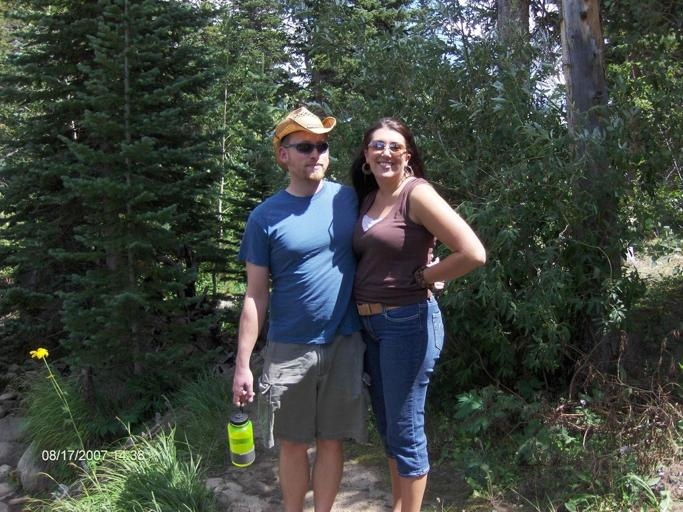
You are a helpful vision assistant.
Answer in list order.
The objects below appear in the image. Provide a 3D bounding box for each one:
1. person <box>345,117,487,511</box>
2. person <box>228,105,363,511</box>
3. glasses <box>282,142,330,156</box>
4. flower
[{"bbox_3d":[0.506,0.425,4.258,0.990,2.965,0.439,-1,-1,19],"label":"person"},{"bbox_3d":[-0.318,0.407,4.419,0.993,3.164,0.334,0,-1,-10],"label":"person"},{"bbox_3d":[-0.274,-0.838,4.375,0.332,0.110,0.079,0,-1,-5],"label":"glasses"},{"bbox_3d":[-3.344,2.091,6.957,0.210,1.979,0.304,-29,-12,8],"label":"flower"}]
